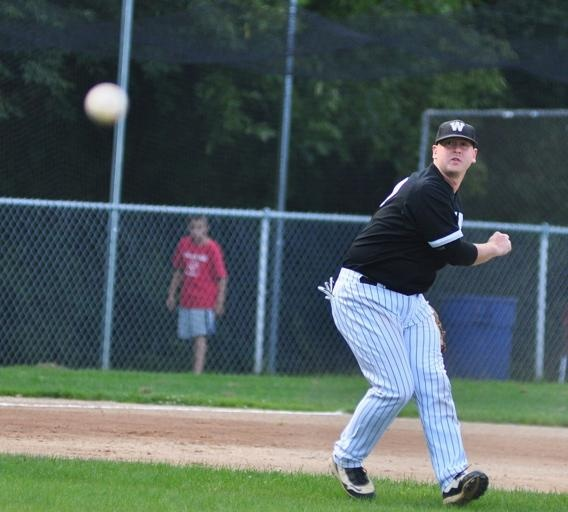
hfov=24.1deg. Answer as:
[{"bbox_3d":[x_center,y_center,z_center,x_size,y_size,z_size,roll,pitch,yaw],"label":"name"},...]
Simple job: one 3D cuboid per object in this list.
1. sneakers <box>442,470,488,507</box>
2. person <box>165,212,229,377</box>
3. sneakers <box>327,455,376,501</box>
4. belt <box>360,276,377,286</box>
[{"bbox_3d":[1.407,1.770,10.323,0.344,0.287,0.148,4,5,7],"label":"sneakers"},{"bbox_3d":[-0.911,0.369,13.694,0.602,1.567,0.397,3,4,-7],"label":"person"},{"bbox_3d":[0.557,1.742,10.424,0.318,0.235,0.098,5,5,7],"label":"sneakers"},{"bbox_3d":[0.663,0.190,10.451,0.078,0.087,0.048,-20,28,30],"label":"belt"}]
